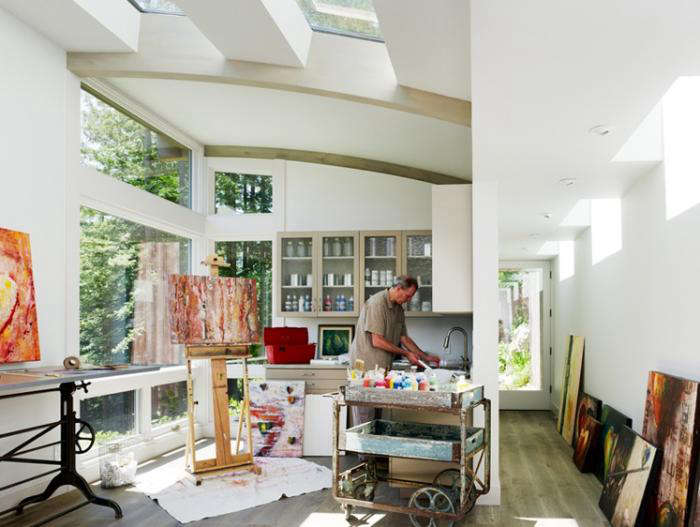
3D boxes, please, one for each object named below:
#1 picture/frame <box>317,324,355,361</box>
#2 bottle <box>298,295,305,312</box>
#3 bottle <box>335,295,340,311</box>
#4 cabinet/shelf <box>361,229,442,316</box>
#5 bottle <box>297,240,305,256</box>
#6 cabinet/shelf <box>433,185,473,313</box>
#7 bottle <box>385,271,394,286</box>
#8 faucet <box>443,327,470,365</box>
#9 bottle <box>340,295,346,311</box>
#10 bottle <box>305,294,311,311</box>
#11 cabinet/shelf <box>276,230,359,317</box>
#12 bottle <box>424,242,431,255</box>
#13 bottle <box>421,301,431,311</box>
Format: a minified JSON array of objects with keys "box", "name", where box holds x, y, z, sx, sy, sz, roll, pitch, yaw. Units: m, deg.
[{"box":[-0.191,1.052,7.115,0.510,0.494,0.043,-1,-13,7],"name":"picture/frame"},{"box":[-0.643,0.525,6.972,0.078,0.208,0.039,0,0,5],"name":"bottle"},{"box":[-0.149,0.508,6.932,0.065,0.177,0.033,0,0,0],"name":"bottle"},{"box":[0.635,0.124,6.323,1.054,1.046,0.342,-1,-5,8],"name":"cabinet/shelf"},{"box":[-0.667,-0.206,7.007,0.101,0.191,0.067,1,-4,4],"name":"bottle"},{"box":[0.970,-0.149,4.994,0.367,1.061,0.201,0,0,12],"name":"cabinet/shelf"},{"box":[0.526,0.207,6.923,0.158,0.222,0.227,0,-3,9],"name":"bottle"},{"box":[1.384,1.062,6.874,0.242,0.112,0.528,-2,36,10],"name":"faucet"},{"box":[-0.090,0.504,6.928,0.072,0.191,0.035,0,0,-4],"name":"bottle"},{"box":[-0.555,0.511,6.963,0.084,0.215,0.048,0,0,-2],"name":"bottle"},{"box":[-0.408,0.163,6.976,1.083,1.072,0.371,0,-4,5],"name":"cabinet/shelf"},{"box":[1.003,-0.192,6.868,0.084,0.143,0.039,0,0,-13],"name":"bottle"},{"box":[0.975,0.533,6.749,0.109,0.210,0.111,0,-5,0],"name":"bottle"}]
